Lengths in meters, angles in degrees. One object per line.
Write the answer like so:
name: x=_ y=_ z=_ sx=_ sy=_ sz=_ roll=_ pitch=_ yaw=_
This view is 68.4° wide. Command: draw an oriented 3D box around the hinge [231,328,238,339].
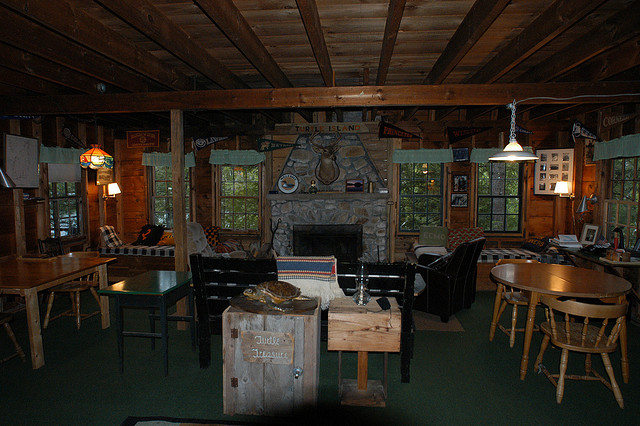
hinge: x=-1.043 y=1.476 z=5.780 sx=0.097 sy=0.084 sz=0.089 roll=-1 pitch=-9 yaw=0

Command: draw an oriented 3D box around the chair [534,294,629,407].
chair: x=3.639 y=1.745 z=6.666 sx=1.083 sy=1.415 sz=1.714 roll=0 pitch=3 yaw=23

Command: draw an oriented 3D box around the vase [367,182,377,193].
vase: x=1.149 y=-0.564 z=10.233 sx=0.161 sy=0.230 sz=0.301 roll=-1 pitch=2 yaw=16

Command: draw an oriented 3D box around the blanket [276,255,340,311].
blanket: x=-0.162 y=0.897 z=6.274 sx=0.743 sy=0.650 sz=0.225 roll=3 pitch=0 yaw=4

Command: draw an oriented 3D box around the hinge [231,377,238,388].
hinge: x=-1.053 y=2.091 z=5.827 sx=0.082 sy=0.107 sz=0.016 roll=-2 pitch=3 yaw=-3
